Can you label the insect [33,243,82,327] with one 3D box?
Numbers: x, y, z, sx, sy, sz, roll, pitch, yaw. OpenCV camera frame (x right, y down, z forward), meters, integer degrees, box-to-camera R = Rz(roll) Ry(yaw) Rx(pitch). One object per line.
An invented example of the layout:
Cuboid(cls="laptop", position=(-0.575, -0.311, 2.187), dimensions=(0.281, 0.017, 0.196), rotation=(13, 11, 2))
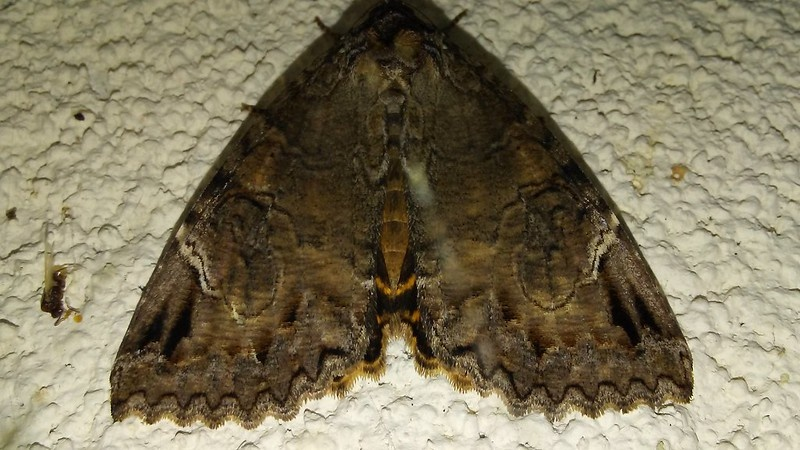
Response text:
Cuboid(cls="insect", position=(-1.852, 0.346, 5.917), dimensions=(0.152, 0.179, 0.378), rotation=(2, 90, 37))
